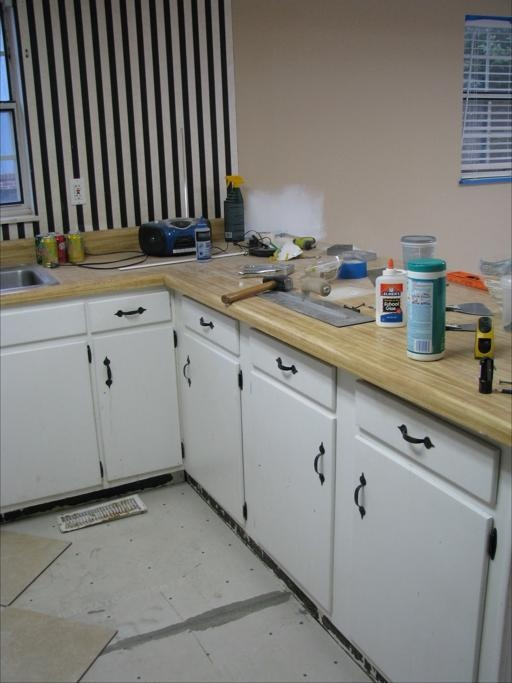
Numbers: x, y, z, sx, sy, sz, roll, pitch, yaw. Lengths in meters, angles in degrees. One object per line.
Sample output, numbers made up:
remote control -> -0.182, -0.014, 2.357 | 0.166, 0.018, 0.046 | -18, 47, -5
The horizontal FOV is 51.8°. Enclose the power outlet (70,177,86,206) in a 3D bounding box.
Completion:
power outlet -> -0.851, -0.716, 2.502 | 0.070, 0.119, 0.018 | -10, 13, -36

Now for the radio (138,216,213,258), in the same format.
radio -> -0.378, -0.488, 2.465 | 0.226, 0.207, 0.249 | 24, 19, 38

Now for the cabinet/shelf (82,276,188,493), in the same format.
cabinet/shelf -> -0.528, 0.193, 2.316 | 0.419, 0.829, 0.442 | -2, 11, 4

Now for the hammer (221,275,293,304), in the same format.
hammer -> -0.005, -0.158, 1.618 | 0.255, 0.068, 0.100 | -10, 14, -34

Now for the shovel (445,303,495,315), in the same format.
shovel -> 0.548, -0.087, 1.344 | 0.105, 0.023, 0.173 | 3, 13, 23

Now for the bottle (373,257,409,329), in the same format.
bottle -> 0.304, -0.108, 1.164 | 0.062, 0.158, 0.034 | 0, 25, 15

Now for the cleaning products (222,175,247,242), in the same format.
cleaning products -> -0.112, -0.672, 2.698 | 0.095, 0.326, 0.106 | -4, 11, -8

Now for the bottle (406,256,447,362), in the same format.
bottle -> 0.303, -0.055, 0.931 | 0.068, 0.175, 0.069 | -4, 15, 1

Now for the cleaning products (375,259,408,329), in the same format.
cleaning products -> 0.303, -0.108, 1.163 | 0.064, 0.161, 0.037 | -3, 31, 9

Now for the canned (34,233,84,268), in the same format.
canned -> -0.903, -0.407, 2.350 | 0.234, 0.144, 0.167 | -2, 11, 1

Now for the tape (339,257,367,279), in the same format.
tape -> 0.328, -0.249, 1.788 | 0.073, 0.048, 0.075 | -5, 17, -16
